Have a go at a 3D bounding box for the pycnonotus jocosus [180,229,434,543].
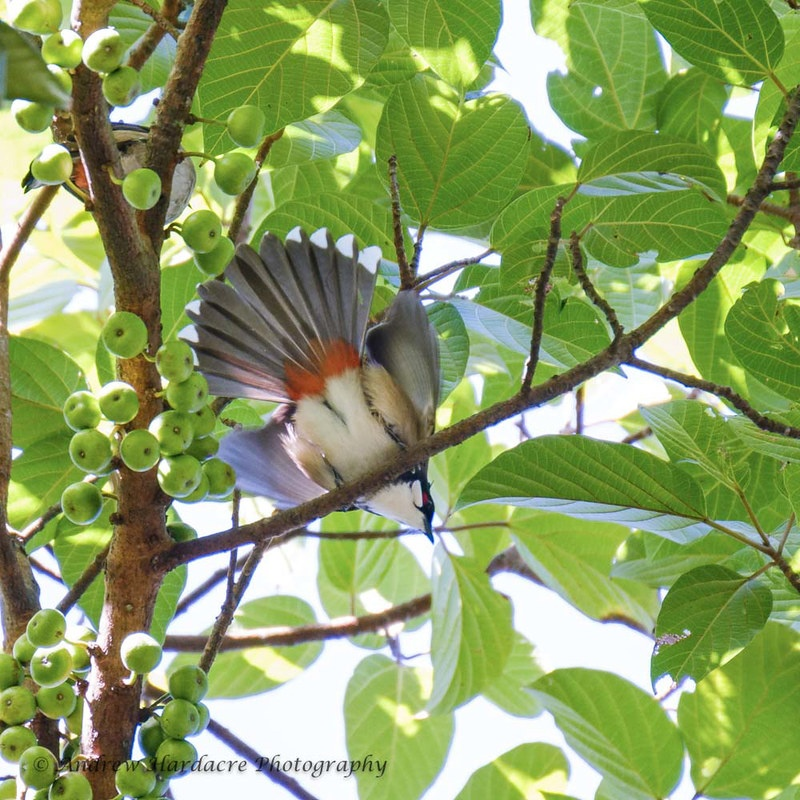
[{"bbox_3d":[-0.133,-0.016,2.541,0.414,0.191,0.497,-24,-89,-4],"label":"pycnonotus jocosus"}]
